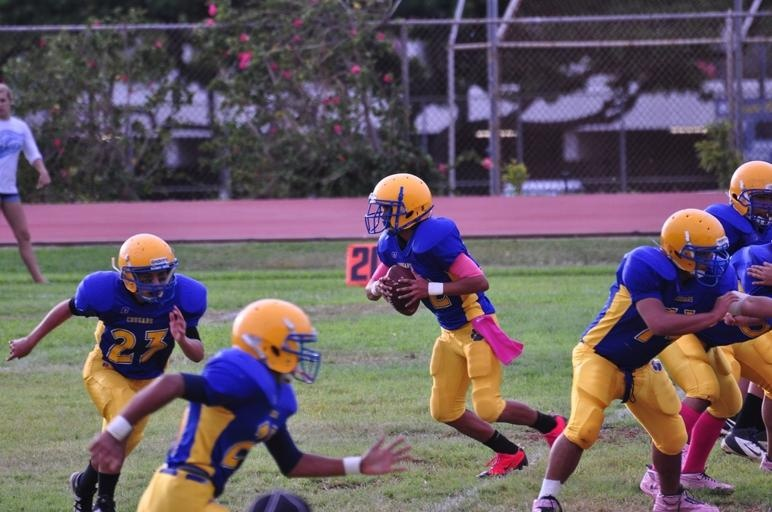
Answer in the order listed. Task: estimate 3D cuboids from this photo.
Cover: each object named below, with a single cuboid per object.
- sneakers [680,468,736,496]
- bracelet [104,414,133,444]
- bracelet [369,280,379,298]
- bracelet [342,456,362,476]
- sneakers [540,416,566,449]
[{"bbox_3d":[3.121,2.233,14.828,0.563,0.218,0.198,5,-4,0],"label":"sneakers"},{"bbox_3d":[-2.368,1.526,13.494,0.220,0.227,0.223,-42,11,-11],"label":"bracelet"},{"bbox_3d":[-0.124,0.355,15.287,0.109,0.136,0.121,33,21,-11],"label":"bracelet"},{"bbox_3d":[-0.308,1.927,13.732,0.175,0.159,0.139,0,8,3],"label":"bracelet"},{"bbox_3d":[1.685,1.781,15.275,0.179,0.391,0.144,6,25,-12],"label":"sneakers"}]
